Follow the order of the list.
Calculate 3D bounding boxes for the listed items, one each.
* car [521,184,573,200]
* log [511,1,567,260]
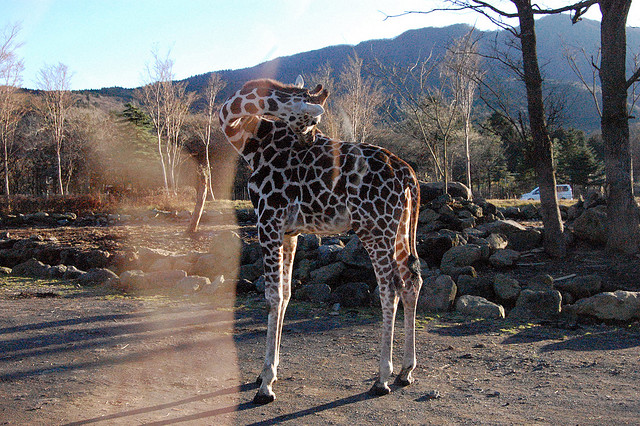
[{"bbox_3d":[17.022,-1.574,45.673,3.455,1.369,4.802,-1,-3,20],"label":"car"},{"bbox_3d":[7.025,-2.642,19.244,1.478,8.176,0.771,1,-3,-30],"label":"log"}]
